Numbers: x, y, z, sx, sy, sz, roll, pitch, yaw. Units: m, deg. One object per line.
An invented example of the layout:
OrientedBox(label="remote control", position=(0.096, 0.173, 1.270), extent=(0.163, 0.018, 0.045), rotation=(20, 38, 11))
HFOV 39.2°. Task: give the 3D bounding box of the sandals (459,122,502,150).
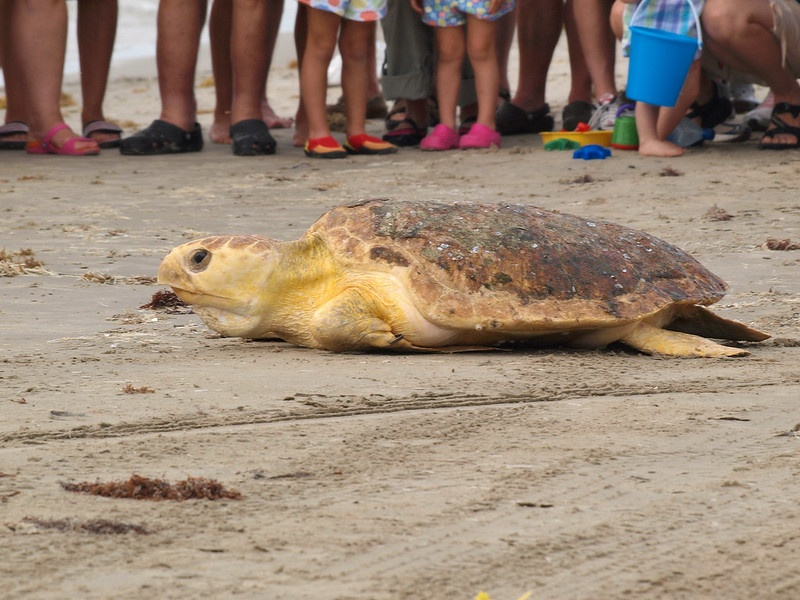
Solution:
OrientedBox(label="sandals", position=(0.594, -1.234, 8.555), extent=(0.228, 0.096, 0.370), rotation=(-1, 0, 26))

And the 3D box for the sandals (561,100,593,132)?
OrientedBox(label="sandals", position=(1.466, -1.531, 9.292), extent=(0.248, 0.264, 0.499), rotation=(1, 7, 8))

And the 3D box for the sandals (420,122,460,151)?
OrientedBox(label="sandals", position=(0.333, -1.253, 8.659), extent=(0.244, 0.216, 0.396), rotation=(7, 10, 38))

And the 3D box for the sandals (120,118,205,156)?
OrientedBox(label="sandals", position=(-1.864, -1.239, 8.652), extent=(0.716, 0.145, 0.305), rotation=(0, -1, -17))

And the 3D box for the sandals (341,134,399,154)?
OrientedBox(label="sandals", position=(-0.263, -1.205, 8.691), extent=(0.510, 0.170, 0.247), rotation=(2, 8, 17))

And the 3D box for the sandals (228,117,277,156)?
OrientedBox(label="sandals", position=(-1.137, -1.249, 8.618), extent=(0.331, 0.288, 0.354), rotation=(-1, 8, -7))

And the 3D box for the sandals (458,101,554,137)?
OrientedBox(label="sandals", position=(0.831, -1.519, 9.462), extent=(1.059, 0.242, 0.319), rotation=(-2, 8, -26))

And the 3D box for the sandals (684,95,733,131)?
OrientedBox(label="sandals", position=(2.408, -1.456, 8.709), extent=(0.448, 0.253, 0.223), rotation=(-1, 9, -9))
